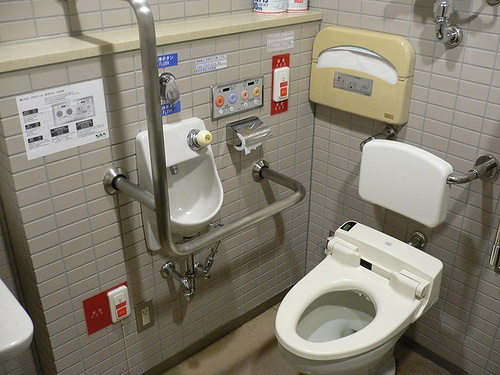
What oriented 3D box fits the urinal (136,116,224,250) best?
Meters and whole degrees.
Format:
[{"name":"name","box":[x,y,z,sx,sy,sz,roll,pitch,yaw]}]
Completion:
[{"name":"urinal","box":[-0.275,0.047,1.592,0.367,0.570,0.319,-23,38,-26]}]

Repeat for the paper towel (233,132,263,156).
[{"name":"paper towel","box":[-0.007,-0.217,1.770,0.102,0.042,0.097,-24,45,-34]}]
